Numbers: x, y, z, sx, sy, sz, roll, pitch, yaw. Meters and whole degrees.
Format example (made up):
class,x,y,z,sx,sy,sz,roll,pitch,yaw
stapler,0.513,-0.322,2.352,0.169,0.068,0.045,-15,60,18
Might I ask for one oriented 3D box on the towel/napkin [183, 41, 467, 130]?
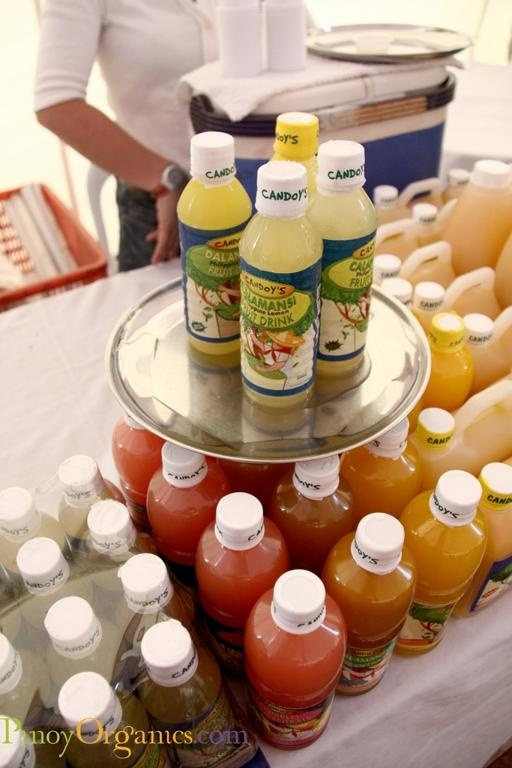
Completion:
class,x,y,z,sx,sy,sz,roll,pitch,yaw
towel/napkin,0.134,-0.544,1.162,0.524,0.098,0.255,-11,37,-12

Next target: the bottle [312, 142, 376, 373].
class,x,y,z,sx,sy,sz,roll,pitch,yaw
bottle,0.083,-0.111,0.616,0.060,0.232,0.044,0,37,5

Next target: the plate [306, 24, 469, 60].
class,x,y,z,sx,sy,sz,roll,pitch,yaw
plate,0.267,-0.651,1.194,0.231,0.023,0.224,-8,33,-13

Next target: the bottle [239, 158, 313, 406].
class,x,y,z,sx,sy,sz,roll,pitch,yaw
bottle,0.027,-0.086,0.585,0.083,0.234,0.073,-16,38,-17
